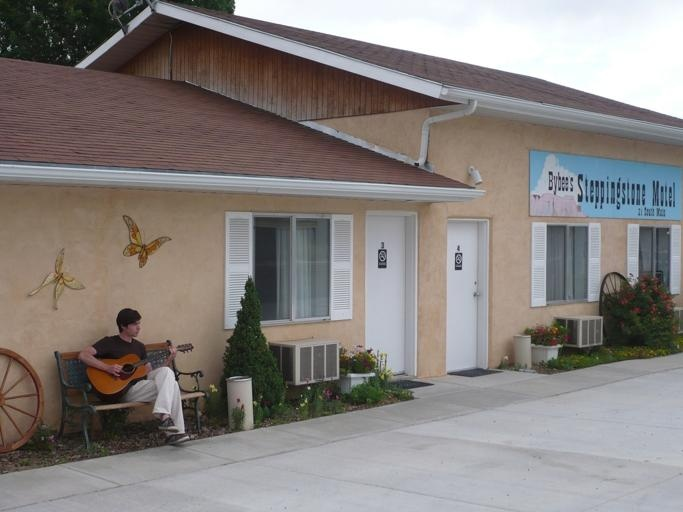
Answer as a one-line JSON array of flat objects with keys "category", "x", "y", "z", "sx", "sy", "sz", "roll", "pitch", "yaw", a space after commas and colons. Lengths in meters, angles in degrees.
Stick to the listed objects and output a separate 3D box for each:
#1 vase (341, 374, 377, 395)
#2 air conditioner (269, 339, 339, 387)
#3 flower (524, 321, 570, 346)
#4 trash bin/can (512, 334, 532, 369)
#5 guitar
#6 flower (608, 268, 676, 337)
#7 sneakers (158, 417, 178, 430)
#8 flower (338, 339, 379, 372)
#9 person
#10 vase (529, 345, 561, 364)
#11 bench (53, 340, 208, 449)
[{"category": "vase", "x": 0.221, "y": 1.896, "z": 11.541, "sx": 0.337, "sy": 0.366, "sz": 0.338, "roll": -2, "pitch": 2, "yaw": -40}, {"category": "air conditioner", "x": -0.501, "y": 1.577, "z": 11.165, "sx": 1.011, "sy": 0.658, "sz": 0.457, "roll": -3, "pitch": 5, "yaw": -36}, {"category": "flower", "x": 4.020, "y": 1.521, "z": 14.645, "sx": 0.524, "sy": 0.380, "sz": 0.993, "roll": 4, "pitch": 6, "yaw": 42}, {"category": "trash bin/can", "x": 3.388, "y": 1.785, "z": 14.095, "sx": 0.289, "sy": 0.599, "sz": 0.310, "roll": 1, "pitch": 4, "yaw": 7}, {"category": "guitar", "x": -2.531, "y": 1.399, "z": 9.721, "sx": 1.384, "sy": 0.221, "sz": 0.588, "roll": -21, "pitch": 43, "yaw": -35}, {"category": "flower", "x": 6.281, "y": 1.110, "z": 15.860, "sx": 1.414, "sy": 1.378, "sz": 0.795, "roll": 2, "pitch": 4, "yaw": 15}, {"category": "sneakers", "x": -2.125, "y": 2.062, "z": 9.245, "sx": 0.264, "sy": 0.133, "sz": 0.107, "roll": -2, "pitch": -3, "yaw": 43}, {"category": "flower", "x": 0.223, "y": 1.566, "z": 11.741, "sx": 0.415, "sy": 0.313, "sz": 0.388, "roll": 5, "pitch": -6, "yaw": -43}, {"category": "person", "x": -2.423, "y": 1.470, "z": 9.467, "sx": 1.311, "sy": 1.692, "sz": 0.996, "roll": -5, "pitch": -7, "yaw": 24}, {"category": "vase", "x": 3.859, "y": 1.829, "z": 14.387, "sx": 0.358, "sy": 0.352, "sz": 0.473, "roll": -4, "pitch": -6, "yaw": 44}, {"category": "bench", "x": -2.730, "y": 1.783, "z": 9.914, "sx": 0.656, "sy": 1.184, "sz": 1.930, "roll": -1, "pitch": -3, "yaw": 32}]
